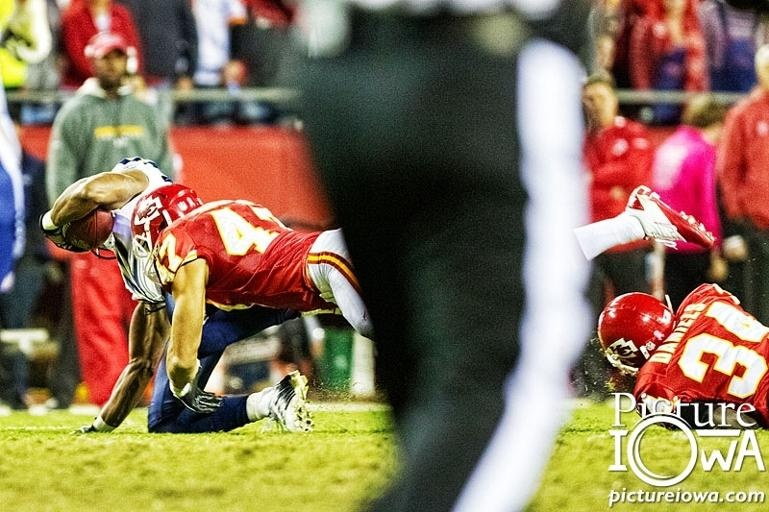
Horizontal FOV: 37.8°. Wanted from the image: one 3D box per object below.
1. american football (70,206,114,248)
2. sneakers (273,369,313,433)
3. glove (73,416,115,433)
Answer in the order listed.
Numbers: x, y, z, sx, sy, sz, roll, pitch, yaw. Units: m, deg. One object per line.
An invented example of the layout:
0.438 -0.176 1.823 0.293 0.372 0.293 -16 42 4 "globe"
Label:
-1.522 -0.154 5.845 0.183 0.156 0.210 -12 7 14 "american football"
-0.481 0.769 5.836 0.138 0.367 0.167 -13 -21 -29 "sneakers"
-1.512 0.904 5.859 0.131 0.054 0.083 -23 43 -27 "glove"
